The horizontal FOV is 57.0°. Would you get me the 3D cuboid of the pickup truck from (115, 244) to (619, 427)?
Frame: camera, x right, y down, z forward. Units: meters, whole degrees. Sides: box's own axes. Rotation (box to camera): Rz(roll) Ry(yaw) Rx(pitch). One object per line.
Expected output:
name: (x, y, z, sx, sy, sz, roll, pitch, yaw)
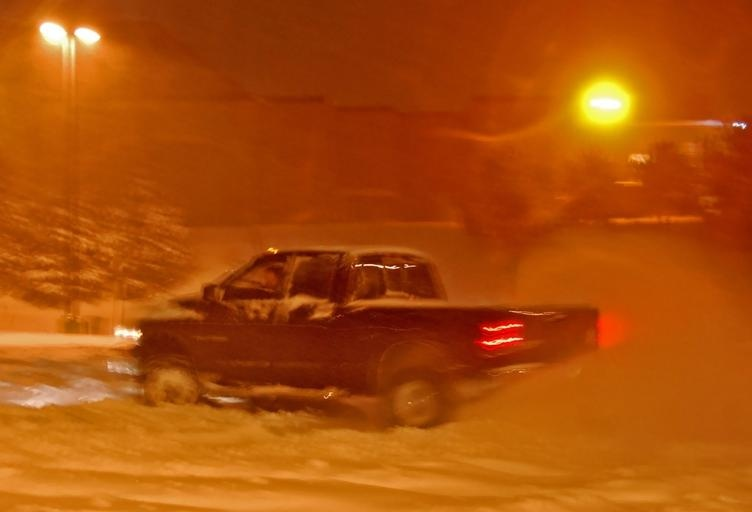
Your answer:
pickup truck: (-0.082, 0.735, 7.454, 4.095, 1.477, 2.107, 2, -1, 7)
